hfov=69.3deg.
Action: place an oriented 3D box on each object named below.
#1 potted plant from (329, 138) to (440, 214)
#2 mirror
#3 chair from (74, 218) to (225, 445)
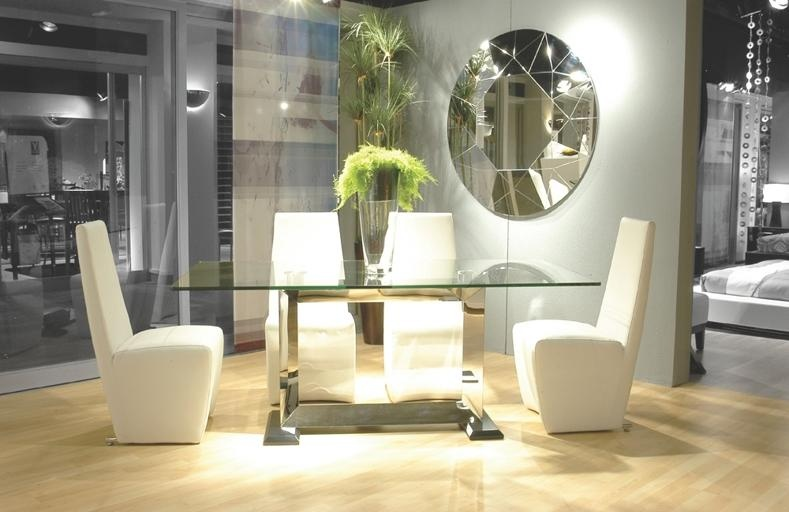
[{"bbox_3d":[-0.029,-0.650,4.520,0.640,0.515,0.725,6,13,29],"label":"potted plant"},{"bbox_3d":[1.326,-1.335,5.681,1.928,2.274,0.093,6,9,35],"label":"mirror"},{"bbox_3d":[-1.758,0.537,4.154,0.887,1.561,0.528,0,14,-2],"label":"chair"}]
